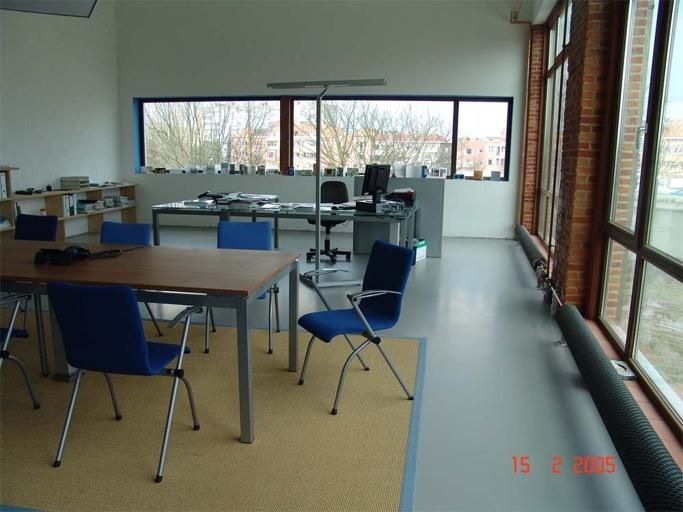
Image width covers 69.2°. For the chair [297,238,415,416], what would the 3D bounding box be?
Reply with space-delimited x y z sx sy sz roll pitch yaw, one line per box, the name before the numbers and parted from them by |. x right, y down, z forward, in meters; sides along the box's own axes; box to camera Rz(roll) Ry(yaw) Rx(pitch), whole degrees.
chair | 0.107 0.499 3.657 0.878 1.099 0.878 4 9 29

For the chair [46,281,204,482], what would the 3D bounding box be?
chair | -1.283 0.627 2.859 0.763 1.047 0.571 3 15 9

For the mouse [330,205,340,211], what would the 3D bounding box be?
mouse | -0.090 -0.612 6.351 0.114 0.080 0.083 -1 5 -3
